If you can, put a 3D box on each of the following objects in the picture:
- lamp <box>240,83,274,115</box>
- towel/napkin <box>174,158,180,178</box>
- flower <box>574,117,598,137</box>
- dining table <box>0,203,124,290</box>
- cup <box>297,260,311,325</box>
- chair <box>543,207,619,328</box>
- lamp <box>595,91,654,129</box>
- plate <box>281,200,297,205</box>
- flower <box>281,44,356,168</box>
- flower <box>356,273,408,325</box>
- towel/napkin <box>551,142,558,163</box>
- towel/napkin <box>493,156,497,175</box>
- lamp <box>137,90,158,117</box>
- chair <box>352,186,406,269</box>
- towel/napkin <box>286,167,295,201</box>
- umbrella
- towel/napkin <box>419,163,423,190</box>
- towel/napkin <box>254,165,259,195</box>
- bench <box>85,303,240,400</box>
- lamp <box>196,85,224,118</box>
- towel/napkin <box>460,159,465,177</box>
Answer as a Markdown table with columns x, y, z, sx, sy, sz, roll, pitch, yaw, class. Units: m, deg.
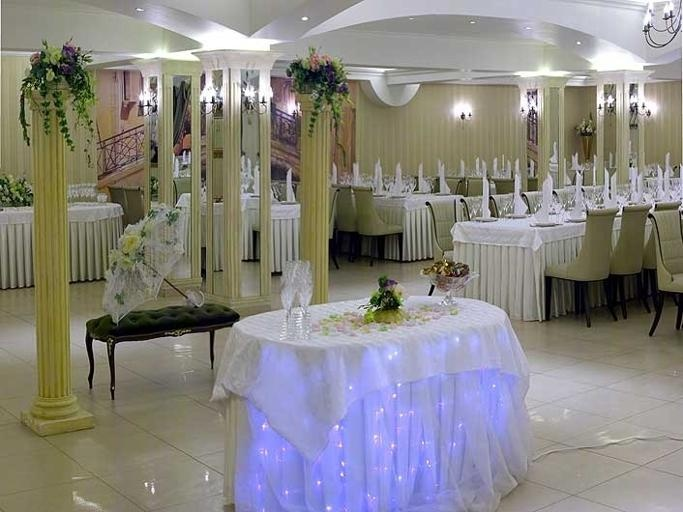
| x | y | z | sx | sy | sz | roll | pitch | yaw | class |
| --- | --- | --- | --- | --- | --- | --- | --- | --- | --- |
| -1.329 | -2.328 | 7.578 | 0.556 | 0.642 | 0.311 | -3 | 4 | -43 | lamp |
| -2.808 | -1.500 | 8.338 | 0.106 | 0.310 | 0.045 | -1 | 7 | -5 | towel/napkin |
| 8.698 | -4.595 | 17.571 | 0.646 | 0.699 | 0.713 | 2 | 8 | 17 | flower |
| -4.033 | -0.131 | 6.918 | 1.201 | 0.711 | 0.727 | -5 | 9 | -39 | dining table |
| -0.220 | 0.231 | 2.863 | 0.086 | 0.458 | 0.095 | -2 | 23 | -9 | cup |
| 3.320 | 0.120 | 6.710 | 1.108 | 1.556 | 0.622 | -5 | 8 | -32 | chair |
| 6.524 | -3.201 | 11.231 | 0.705 | 0.917 | 0.603 | 3 | -13 | 13 | lamp |
| -1.006 | -1.004 | 9.316 | 0.143 | 0.067 | 0.319 | 8 | 12 | 44 | plate |
| -0.250 | -1.642 | 5.111 | 0.450 | 0.972 | 0.429 | 7 | 17 | 18 | flower |
| 0.273 | 0.288 | 3.102 | 0.208 | 0.344 | 0.294 | -3 | -12 | 20 | flower |
| 5.370 | -2.626 | 12.412 | 0.140 | 0.463 | 0.327 | 3 | 8 | 23 | towel/napkin |
| 4.941 | -2.894 | 15.806 | 0.119 | 0.624 | 2.162 | 2 | 9 | 17 | towel/napkin |
| -3.342 | -2.618 | 8.431 | 0.549 | 0.418 | 0.087 | 6 | 9 | 41 | lamp |
| 0.760 | -0.724 | 10.924 | 0.947 | 1.761 | 0.837 | -9 | 12 | -37 | chair |
| -1.012 | -1.376 | 9.625 | 0.183 | 0.637 | 0.713 | -1 | 8 | -7 | towel/napkin |
| -1.869 | 0.094 | 4.711 | 0.828 | 1.092 | 0.818 | -10 | -7 | -4 | umbrella |
| 2.061 | -2.009 | 12.750 | 0.121 | 0.659 | 0.300 | 2 | 7 | 16 | towel/napkin |
| -1.313 | -1.154 | 7.516 | 0.099 | 0.432 | 0.064 | -1 | 7 | -9 | towel/napkin |
| -1.760 | 0.950 | 4.959 | 0.503 | 0.820 | 1.357 | 10 | 8 | 42 | bench |
| -2.074 | -2.378 | 7.612 | 0.387 | 0.457 | 0.132 | 8 | 18 | 22 | lamp |
| 3.458 | -2.498 | 14.068 | 0.079 | 0.472 | 1.671 | 1 | 9 | 15 | towel/napkin |
